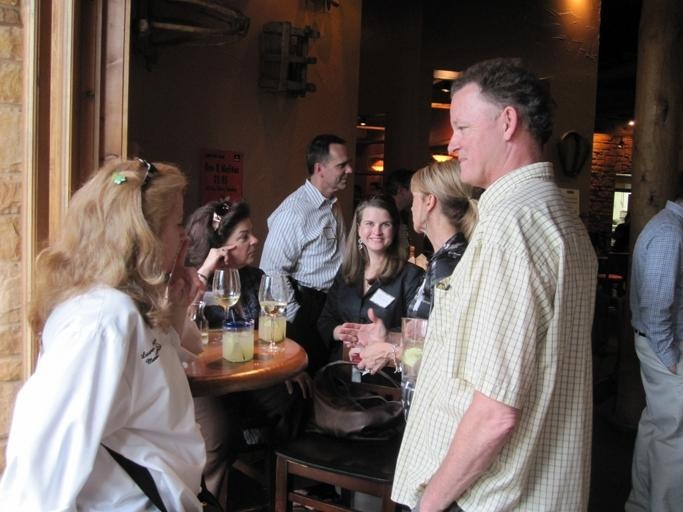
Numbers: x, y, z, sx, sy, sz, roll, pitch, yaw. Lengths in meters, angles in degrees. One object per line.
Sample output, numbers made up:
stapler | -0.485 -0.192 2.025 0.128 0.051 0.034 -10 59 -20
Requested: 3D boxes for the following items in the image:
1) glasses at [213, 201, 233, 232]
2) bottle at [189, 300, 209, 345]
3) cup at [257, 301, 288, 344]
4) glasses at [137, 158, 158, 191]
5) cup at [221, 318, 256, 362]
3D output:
glasses | -0.655 -0.221 3.261 0.042 0.148 0.136 13 23 16
bottle | -0.625 0.296 2.649 0.101 0.195 0.107 -3 -6 0
cup | -0.283 0.286 2.672 0.143 0.179 0.151 0 -4 0
glasses | -0.659 -0.275 2.024 0.035 0.103 0.073 7 -4 40
cup | -0.403 0.330 2.349 0.135 0.167 0.139 1 0 0
